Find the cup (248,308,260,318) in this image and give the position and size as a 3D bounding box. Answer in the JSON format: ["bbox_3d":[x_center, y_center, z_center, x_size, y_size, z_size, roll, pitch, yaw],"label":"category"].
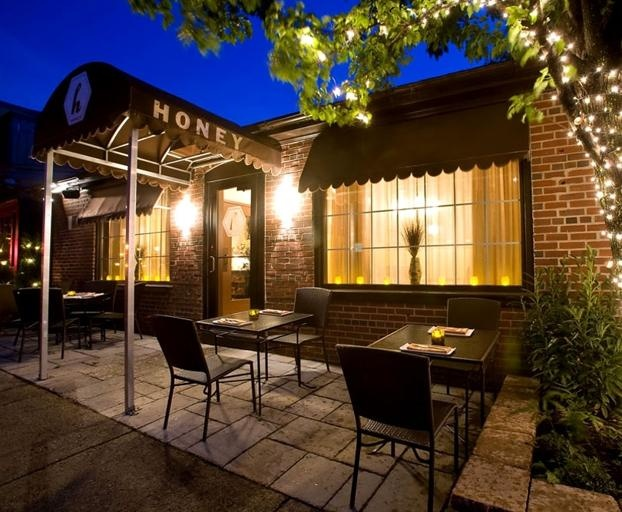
[{"bbox_3d":[-0.697,0.686,5.449,0.094,0.100,0.100,-1,-4,0],"label":"cup"}]

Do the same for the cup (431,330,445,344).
[{"bbox_3d":[1.176,0.754,4.248,0.107,0.131,0.109,-1,-6,0],"label":"cup"}]
